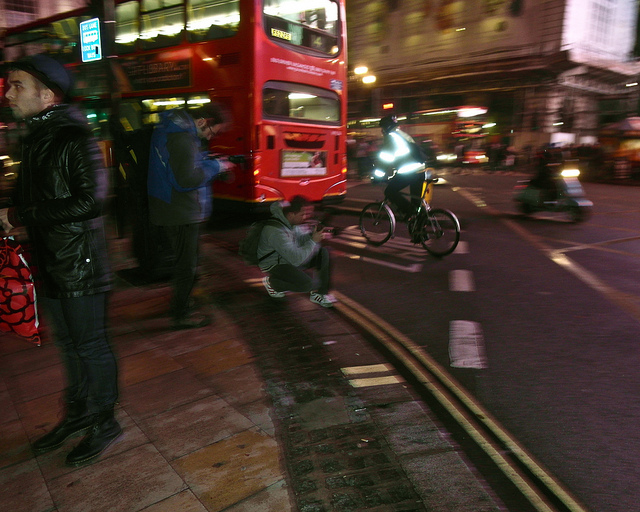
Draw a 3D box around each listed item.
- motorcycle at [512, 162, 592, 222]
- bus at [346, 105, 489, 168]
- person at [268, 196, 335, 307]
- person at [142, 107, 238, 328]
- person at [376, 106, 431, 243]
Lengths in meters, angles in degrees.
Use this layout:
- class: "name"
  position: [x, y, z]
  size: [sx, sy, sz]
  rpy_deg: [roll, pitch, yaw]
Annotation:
- class: "motorcycle"
  position: [4.850, -1.277, 9.865]
  size: [0.927, 0.877, 1.739]
  rpy_deg: [3, 12, -15]
- class: "bus"
  position: [3.633, -5.553, 22.007]
  size: [9.971, 2.541, 2.463]
  rpy_deg: [-13, 26, -36]
- class: "person"
  position: [-0.205, -0.068, 5.709]
  size: [0.768, 1.289, 0.636]
  rpy_deg: [0, 20, 1]
- class: "person"
  position: [-1.408, -0.436, 5.254]
  size: [0.843, 2.233, 1.386]
  rpy_deg: [-6, 20, -15]
- class: "person"
  position: [1.399, -1.228, 7.760]
  size: [0.538, 2.041, 1.052]
  rpy_deg: [-8, 21, -20]
